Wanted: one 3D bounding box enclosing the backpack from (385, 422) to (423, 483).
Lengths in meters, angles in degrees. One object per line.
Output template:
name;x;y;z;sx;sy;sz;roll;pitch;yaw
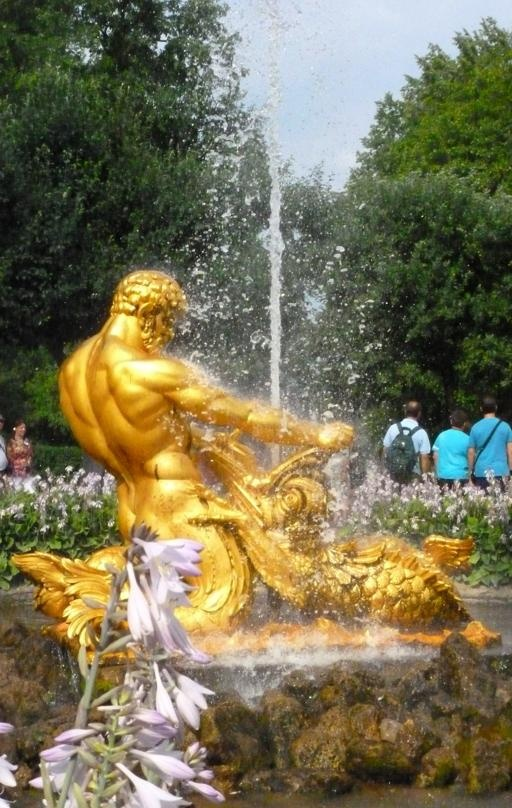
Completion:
backpack;1.240;0.400;9.843;0.280;0.485;0.472;6;21;9

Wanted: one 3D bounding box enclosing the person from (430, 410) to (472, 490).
person;1.675;0.468;9.866;0.337;0.978;0.310;-2;36;1

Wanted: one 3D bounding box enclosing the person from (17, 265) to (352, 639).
person;-0.375;0.230;5.167;1.502;1.697;0.891;-13;11;-22
